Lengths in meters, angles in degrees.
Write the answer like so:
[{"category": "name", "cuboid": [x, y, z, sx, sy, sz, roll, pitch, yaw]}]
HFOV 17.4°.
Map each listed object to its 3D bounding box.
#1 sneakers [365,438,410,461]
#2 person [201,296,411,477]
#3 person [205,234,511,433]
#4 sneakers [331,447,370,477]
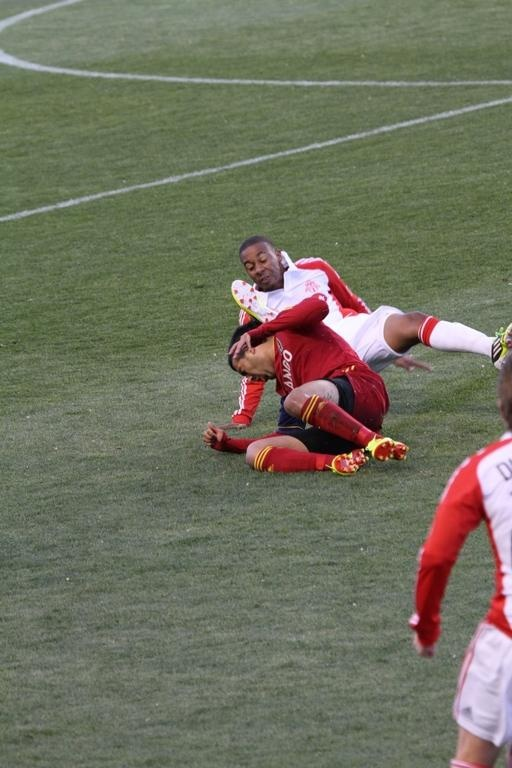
[{"category": "sneakers", "cuboid": [0.568, 0.282, 7.179, 0.106, 0.061, 0.144, -8, -6, 36]}, {"category": "person", "cuboid": [0.242, 0.030, 7.437, 0.901, 0.660, 0.926, 0, 49, 6]}, {"category": "person", "cuboid": [0.467, -0.294, 7.964, 1.300, 0.789, 0.841, -8, 0, -13]}, {"category": "sneakers", "cuboid": [0.411, 0.338, 7.316, 0.143, 0.095, 0.062, -27, 22, 33]}]
